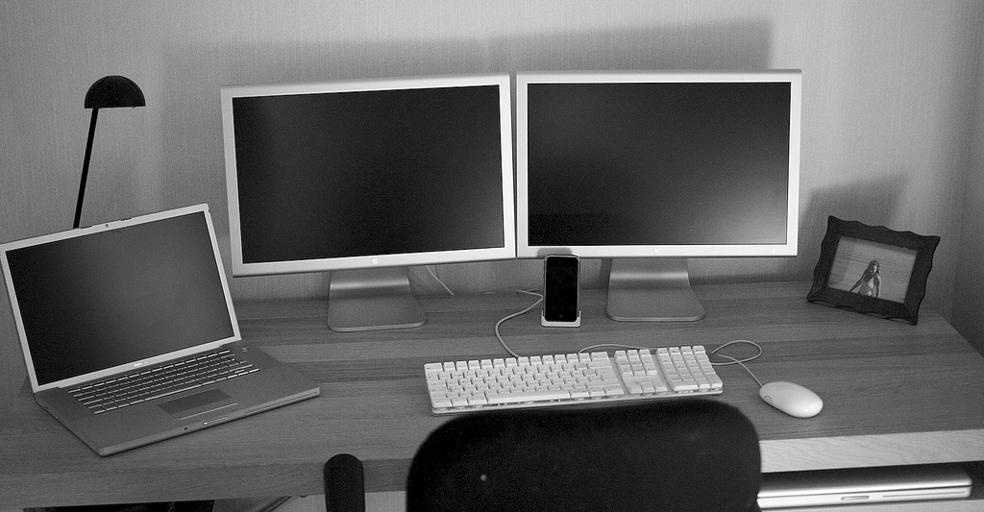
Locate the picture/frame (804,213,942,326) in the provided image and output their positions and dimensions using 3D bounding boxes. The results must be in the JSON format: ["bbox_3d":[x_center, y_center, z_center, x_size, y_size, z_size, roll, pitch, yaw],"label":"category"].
[{"bbox_3d":[1.256,0.049,2.301,0.395,0.294,0.030,13,-10,26],"label":"picture/frame"}]

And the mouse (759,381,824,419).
[{"bbox_3d":[0.830,0.396,1.892,0.102,0.028,0.134,-16,28,-26],"label":"mouse"}]

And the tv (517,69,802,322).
[{"bbox_3d":[0.534,-0.226,2.232,1.009,0.709,0.326,0,11,-1],"label":"tv"}]

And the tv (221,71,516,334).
[{"bbox_3d":[-0.395,-0.201,2.196,1.011,0.661,0.266,-2,18,-5],"label":"tv"}]
